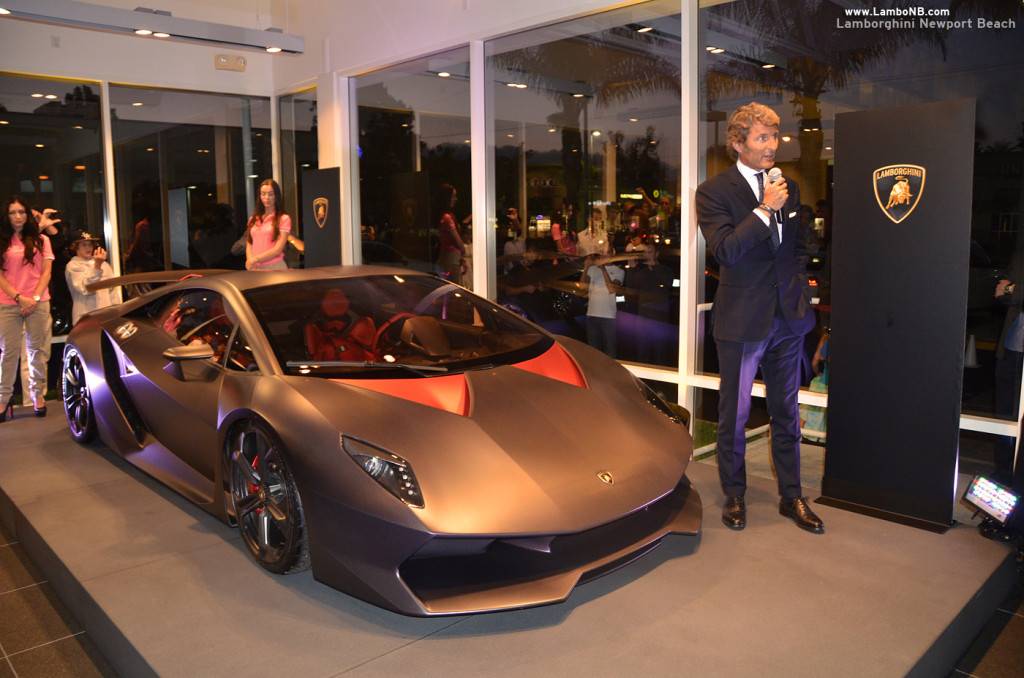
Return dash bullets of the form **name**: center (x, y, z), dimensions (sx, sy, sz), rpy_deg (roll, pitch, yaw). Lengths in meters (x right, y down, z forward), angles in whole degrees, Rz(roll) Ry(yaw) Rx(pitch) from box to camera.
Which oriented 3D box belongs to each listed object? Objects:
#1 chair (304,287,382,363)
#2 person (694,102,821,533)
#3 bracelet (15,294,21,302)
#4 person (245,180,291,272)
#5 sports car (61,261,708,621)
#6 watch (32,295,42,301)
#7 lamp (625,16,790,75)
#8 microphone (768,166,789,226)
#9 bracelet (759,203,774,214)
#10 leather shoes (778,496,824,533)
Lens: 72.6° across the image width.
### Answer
- **chair**: center (-0.972, -0.067, 3.901), dimensions (0.303, 0.436, 0.141), rpy_deg (-17, -6, -26)
- **person**: center (1.412, -0.122, 4.009), dimensions (0.685, 2.368, 0.562), rpy_deg (-1, 12, 4)
- **bracelet**: center (-4.240, -0.342, 6.000), dimensions (0.051, 0.055, 0.016), rpy_deg (6, 8, 21)
- **person**: center (-2.509, -1.159, 7.154), dimensions (0.451, 0.900, 0.454), rpy_deg (-6, 13, -20)
- **sports car**: center (-0.899, 0.418, 3.810), dimensions (3.006, 0.935, 1.637), rpy_deg (13, 18, 42)
- **watch**: center (-4.161, -0.349, 6.094), dimensions (0.046, 0.014, 0.049), rpy_deg (9, 43, -11)
- **lamp**: center (1.491, -2.181, 5.187), dimensions (1.140, 0.132, 0.122), rpy_deg (35, 32, 28)
- **microphone**: center (1.480, -0.796, 3.939), dimensions (0.103, 0.322, 0.246), rpy_deg (3, 13, 20)
- **bracelet**: center (1.386, -0.712, 3.827), dimensions (0.071, 0.045, 0.038), rpy_deg (-1, 12, 4)
- **leather shoes**: center (1.678, 1.018, 4.086), dimensions (0.099, 0.121, 0.271), rpy_deg (-12, 14, -26)
